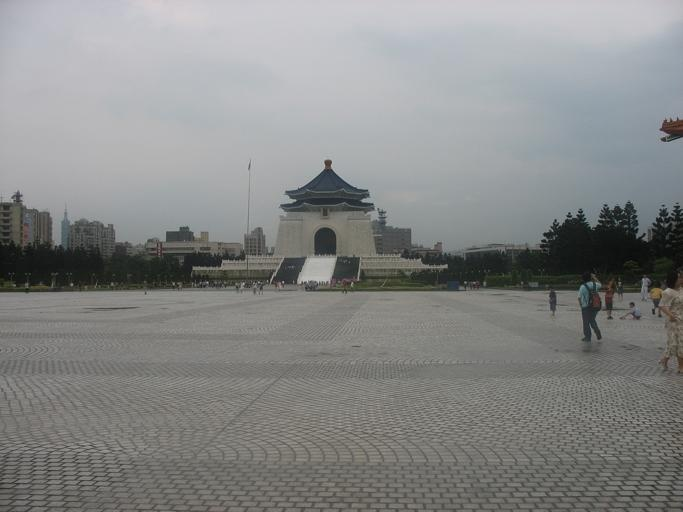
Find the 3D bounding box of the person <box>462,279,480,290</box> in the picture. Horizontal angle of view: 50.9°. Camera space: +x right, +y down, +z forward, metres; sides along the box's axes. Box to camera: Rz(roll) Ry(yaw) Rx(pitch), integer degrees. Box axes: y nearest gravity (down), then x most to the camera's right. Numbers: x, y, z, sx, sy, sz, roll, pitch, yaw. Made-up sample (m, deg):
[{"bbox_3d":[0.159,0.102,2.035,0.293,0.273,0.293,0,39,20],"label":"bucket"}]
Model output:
[{"bbox_3d":[12.447,2.798,69.152,1.355,0.605,1.885,-1,-2,2],"label":"person"}]
